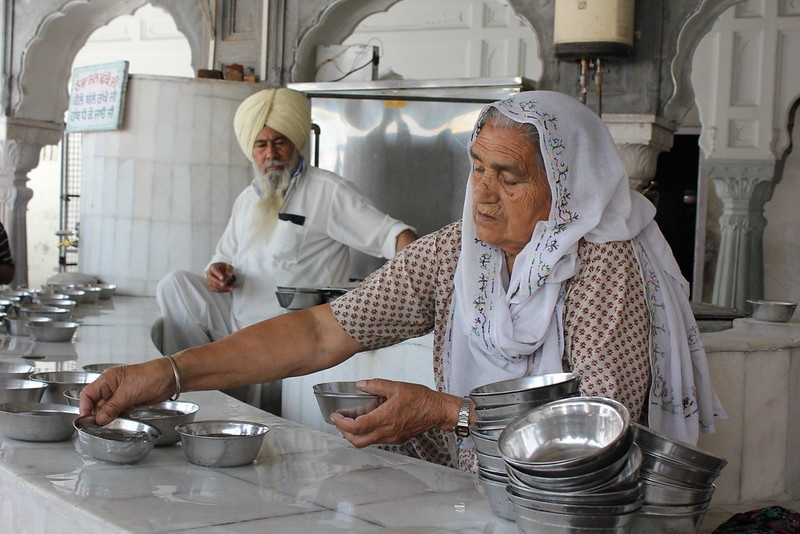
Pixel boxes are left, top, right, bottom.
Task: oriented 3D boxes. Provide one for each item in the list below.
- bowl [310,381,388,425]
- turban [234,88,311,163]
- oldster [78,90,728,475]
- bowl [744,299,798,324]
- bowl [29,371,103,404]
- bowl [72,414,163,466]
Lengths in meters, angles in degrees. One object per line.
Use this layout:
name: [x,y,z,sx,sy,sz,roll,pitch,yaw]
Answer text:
bowl: [-0.170,0.567,4.446,0.370,0.147,0.353,-3,0,0]
turban: [-0.772,-0.941,7.034,0.457,0.450,0.532,1,-8,-43]
oldster: [0.033,0.100,5.029,2.620,2.050,1.517,3,1,-24]
bowl: [2.179,0.256,6.073,0.245,0.119,0.269,1,3,0]
bowl: [-1.413,0.479,4.394,0.184,0.058,0.176,2,1,0]
bowl: [-1.112,0.667,4.084,0.351,0.156,0.204,1,3,-5]
